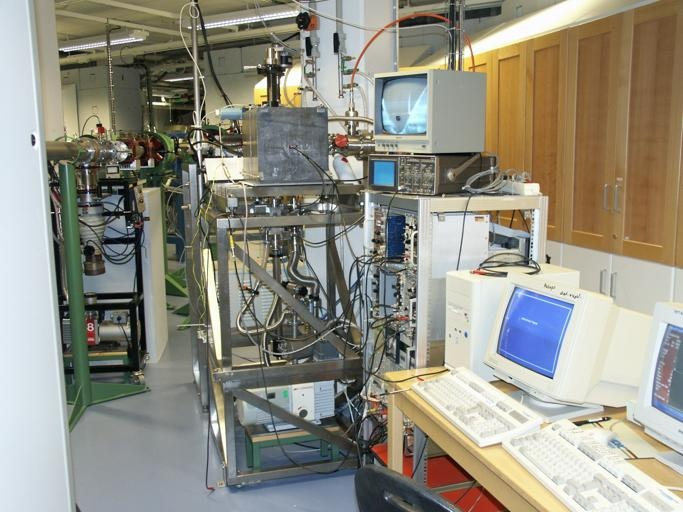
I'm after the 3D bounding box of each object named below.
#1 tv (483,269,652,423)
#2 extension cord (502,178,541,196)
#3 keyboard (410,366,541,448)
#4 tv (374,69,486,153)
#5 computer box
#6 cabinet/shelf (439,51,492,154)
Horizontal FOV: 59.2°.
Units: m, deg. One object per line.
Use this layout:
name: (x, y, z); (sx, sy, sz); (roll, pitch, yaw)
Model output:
tv: (0.817, 0.245, 2.232); (0.480, 0.459, 0.492); (-1, 12, -27)
extension cord: (0.788, -0.301, 2.660); (0.118, 0.057, 0.178); (-10, 15, -34)
keyboard: (0.478, 0.522, 2.104); (0.171, 0.049, 0.348); (-9, 21, -20)
tv: (0.383, -0.570, 2.737); (0.420, 0.387, 0.425); (-2, 6, -20)
computer box: (0.683, 0.222, 2.614); (0.592, 0.549, 0.321); (-5, 10, -23)
cabinet/shelf: (0.538, -0.632, 2.639); (0.140, 0.362, 0.394); (6, 14, 33)
